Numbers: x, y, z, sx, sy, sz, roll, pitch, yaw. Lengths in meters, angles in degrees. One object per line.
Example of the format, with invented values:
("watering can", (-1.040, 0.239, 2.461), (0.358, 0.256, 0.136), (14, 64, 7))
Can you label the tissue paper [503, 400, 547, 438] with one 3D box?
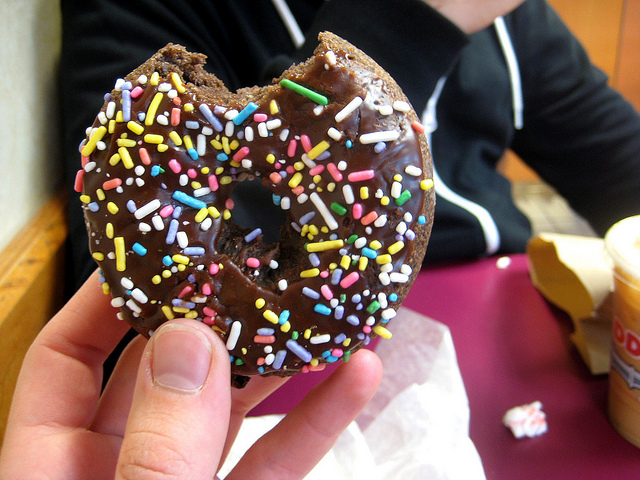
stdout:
("tissue paper", (0.512, 0.450, 1.582), (0.103, 0.040, 0.077), (-6, 72, -20))
